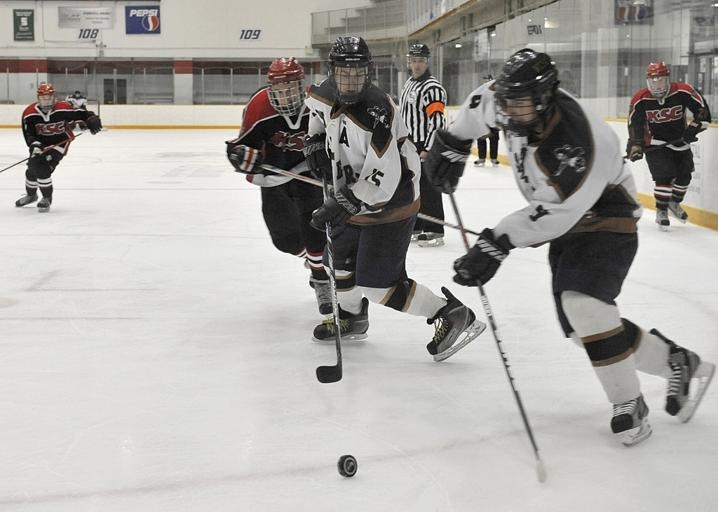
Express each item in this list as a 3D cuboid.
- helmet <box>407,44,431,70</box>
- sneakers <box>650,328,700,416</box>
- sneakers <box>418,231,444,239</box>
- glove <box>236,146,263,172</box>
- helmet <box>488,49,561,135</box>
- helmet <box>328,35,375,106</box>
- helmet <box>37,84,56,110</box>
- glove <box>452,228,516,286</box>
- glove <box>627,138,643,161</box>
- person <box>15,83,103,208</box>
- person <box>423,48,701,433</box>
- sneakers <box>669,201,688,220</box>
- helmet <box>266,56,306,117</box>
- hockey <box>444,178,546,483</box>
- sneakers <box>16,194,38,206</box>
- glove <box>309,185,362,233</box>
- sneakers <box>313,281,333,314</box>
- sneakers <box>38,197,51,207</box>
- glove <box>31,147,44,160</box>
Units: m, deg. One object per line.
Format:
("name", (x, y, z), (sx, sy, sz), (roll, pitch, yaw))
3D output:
("helmet", (0.477, -1.634, 5.689), (0.230, 0.220, 0.258), (0, -1, 3))
("sneakers", (1.205, 0.462, 2.700), (0.200, 0.357, 0.128), (12, -12, -22))
("sneakers", (0.563, -0.176, 5.555), (0.204, 0.060, 0.067), (-7, 19, -18))
("glove", (-0.561, -0.492, 3.517), (0.119, 0.127, 0.135), (8, -4, -12))
("helmet", (0.568, -0.555, 2.375), (0.205, 0.268, 0.115), (2, 18, 9))
("helmet", (-0.041, -0.798, 2.965), (0.186, 0.281, 0.238), (-1, 16, -1))
("helmet", (-3.312, -1.664, 7.200), (0.254, 0.259, 0.327), (-1, 11, -18))
("glove", (0.441, -0.003, 2.596), (0.238, 0.187, 0.100), (-44, 8, 17))
("glove", (2.499, -0.969, 6.302), (0.135, 0.059, 0.187), (-5, 49, 15))
("person", (-3.218, -1.147, 7.164), (0.677, 1.228, 1.045), (5, 17, 18))
("person", (0.693, -0.056, 2.598), (0.895, 1.392, 0.470), (6, 19, 20))
("sneakers", (2.922, -0.426, 6.351), (0.076, 0.099, 0.193), (-24, 42, -3))
("helmet", (-0.363, -0.842, 3.441), (0.176, 0.282, 0.197), (-2, 17, -6))
("hockey", (0.470, 0.116, 2.691), (0.153, 1.478, 0.085), (5, -28, -37))
("sneakers", (-3.395, -0.571, 7.102), (0.225, 0.088, 0.104), (-23, 37, -32))
("glove", (-0.095, -0.205, 3.037), (0.249, 0.132, 0.076), (-32, 2, 9))
("sneakers", (-0.188, 0.220, 3.687), (0.075, 0.202, 0.086), (-20, -22, -1))
("sneakers", (-3.084, -0.535, 6.800), (0.131, 0.118, 0.325), (-1, 4, -20))
("glove", (-3.270, -1.054, 7.040), (0.106, 0.125, 0.051), (23, -25, -13))
